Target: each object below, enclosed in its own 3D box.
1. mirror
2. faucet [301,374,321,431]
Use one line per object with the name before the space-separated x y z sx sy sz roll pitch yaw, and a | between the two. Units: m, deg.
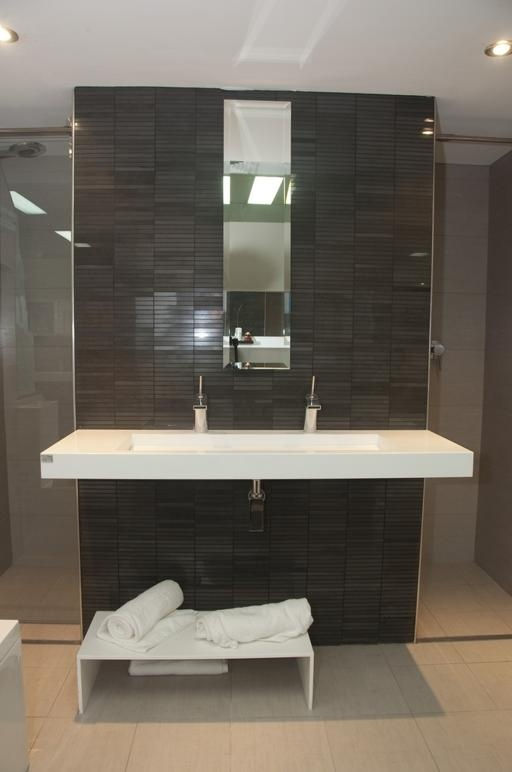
mirror | 0.000 -0.434 2.608 0.255 0.722 0.039 0 -14 -7
faucet | 0.233 0.077 2.611 0.061 0.222 0.105 2 10 5
